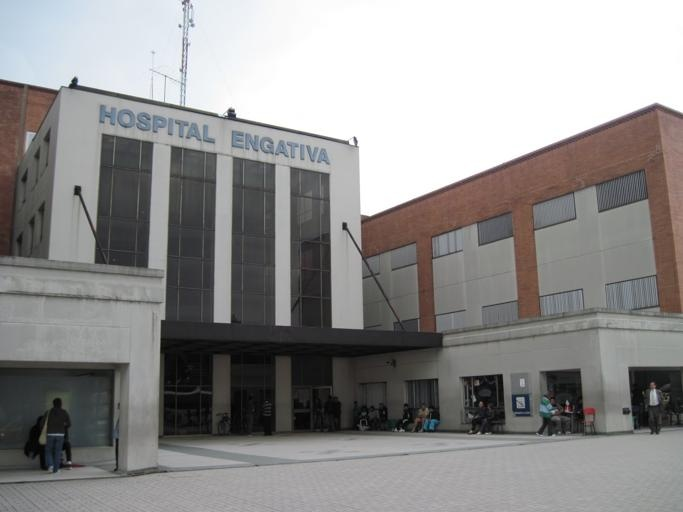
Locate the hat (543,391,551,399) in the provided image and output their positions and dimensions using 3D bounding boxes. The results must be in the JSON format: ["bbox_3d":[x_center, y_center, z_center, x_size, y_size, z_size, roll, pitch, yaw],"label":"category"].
[{"bbox_3d":[9.055,6.127,25.510,0.272,0.278,0.797,-10,-20,23],"label":"hat"}]

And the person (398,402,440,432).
[{"bbox_3d":[4.484,9.250,33.274,1.417,1.193,2.386,-4,-21,18],"label":"person"}]
